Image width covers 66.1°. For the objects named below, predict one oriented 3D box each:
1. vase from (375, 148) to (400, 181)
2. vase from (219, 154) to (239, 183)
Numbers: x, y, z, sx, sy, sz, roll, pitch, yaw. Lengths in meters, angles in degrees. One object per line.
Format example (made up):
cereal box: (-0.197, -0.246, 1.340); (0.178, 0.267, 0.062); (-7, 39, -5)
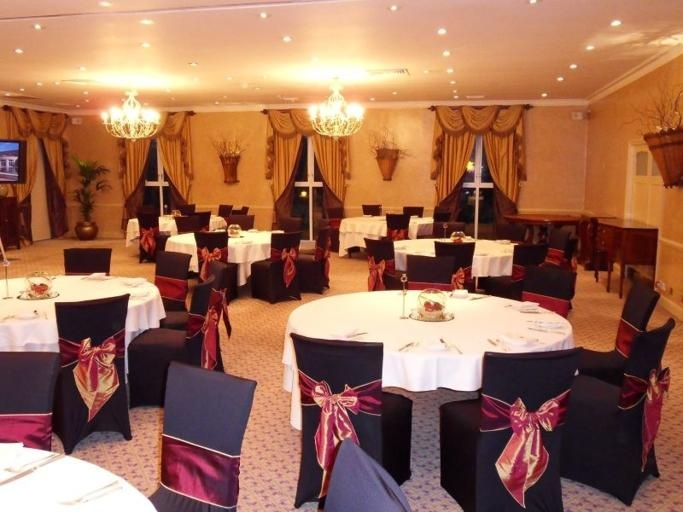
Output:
vase: (1.101, -2.176, 12.425); (0.551, 0.757, 0.383); (0, 6, 7)
vase: (-2.773, -2.176, 13.240); (0.461, 0.732, 0.258); (-1, 6, -6)
